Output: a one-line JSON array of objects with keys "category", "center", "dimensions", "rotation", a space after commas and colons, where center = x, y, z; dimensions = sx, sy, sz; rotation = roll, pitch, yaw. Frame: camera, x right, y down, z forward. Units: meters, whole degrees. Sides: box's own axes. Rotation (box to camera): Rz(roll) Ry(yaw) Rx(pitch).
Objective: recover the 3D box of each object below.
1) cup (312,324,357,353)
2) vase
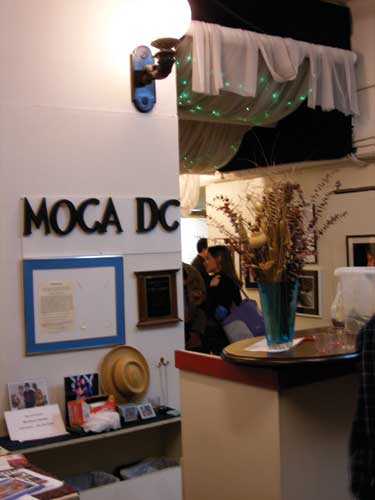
[{"category": "cup", "center": [0.457, 0.260, 1.399], "dimensions": [0.123, 0.045, 0.099], "rotation": [-1, 0, -27]}, {"category": "vase", "center": [0.333, 0.214, 1.541], "dimensions": [0.184, 0.240, 0.109], "rotation": [-9, 4, -36]}]
